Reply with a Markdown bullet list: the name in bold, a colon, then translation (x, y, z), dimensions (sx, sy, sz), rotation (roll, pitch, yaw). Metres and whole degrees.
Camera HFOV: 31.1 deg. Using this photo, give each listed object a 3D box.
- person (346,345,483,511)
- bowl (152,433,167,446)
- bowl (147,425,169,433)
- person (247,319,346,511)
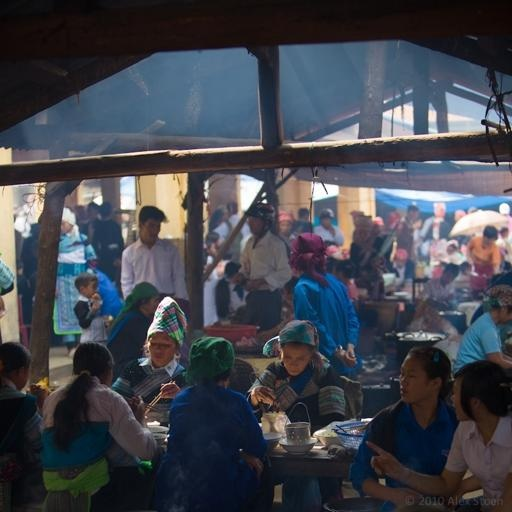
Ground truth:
- **person**: translation (0.821, 0.899, 4.984), dimensions (0.469, 1.015, 0.461), rotation (9, 10, 21)
- **bowl**: translation (-0.615, 1.137, 5.752), dimensions (0.075, 0.061, 0.076), rotation (0, 1, 0)
- **bowl**: translation (-0.627, 1.102, 5.894), dimensions (0.079, 0.019, 0.079), rotation (2, 2, 0)
- **person**: translation (0.287, 0.982, 6.175), dimensions (0.581, 1.222, 0.602), rotation (4, 9, 20)
